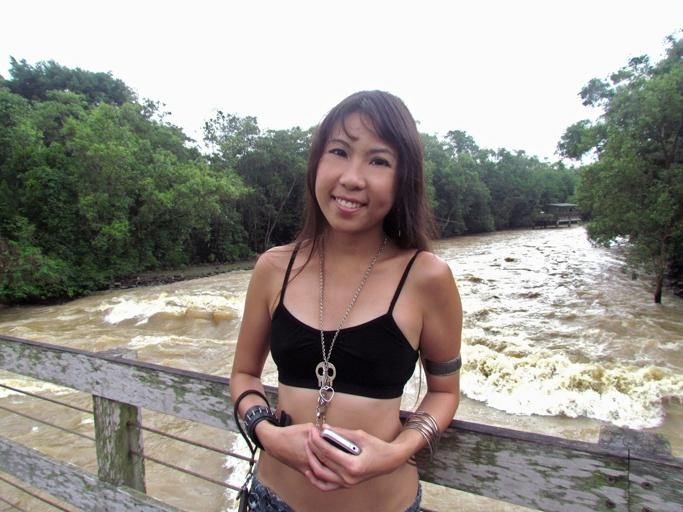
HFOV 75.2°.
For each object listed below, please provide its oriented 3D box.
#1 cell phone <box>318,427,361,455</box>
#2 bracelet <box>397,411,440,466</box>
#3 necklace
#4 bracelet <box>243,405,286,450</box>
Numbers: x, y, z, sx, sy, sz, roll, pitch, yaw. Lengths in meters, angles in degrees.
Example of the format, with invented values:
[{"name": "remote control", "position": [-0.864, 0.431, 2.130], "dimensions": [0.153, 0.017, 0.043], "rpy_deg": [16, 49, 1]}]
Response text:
[{"name": "cell phone", "position": [-0.007, 0.677, 1.682], "dimensions": [0.139, 0.045, 0.079], "rpy_deg": [22, 4, 12]}, {"name": "bracelet", "position": [0.338, 0.754, 1.879], "dimensions": [0.164, 0.217, 0.105], "rpy_deg": [21, -4, 26]}, {"name": "necklace", "position": [0.055, 0.318, 2.021], "dimensions": [0.323, 0.736, 0.425], "rpy_deg": [-1, 8, 4]}, {"name": "bracelet", "position": [-0.345, 0.700, 1.893], "dimensions": [0.143, 0.208, 0.072], "rpy_deg": [6, 22, 5]}]
